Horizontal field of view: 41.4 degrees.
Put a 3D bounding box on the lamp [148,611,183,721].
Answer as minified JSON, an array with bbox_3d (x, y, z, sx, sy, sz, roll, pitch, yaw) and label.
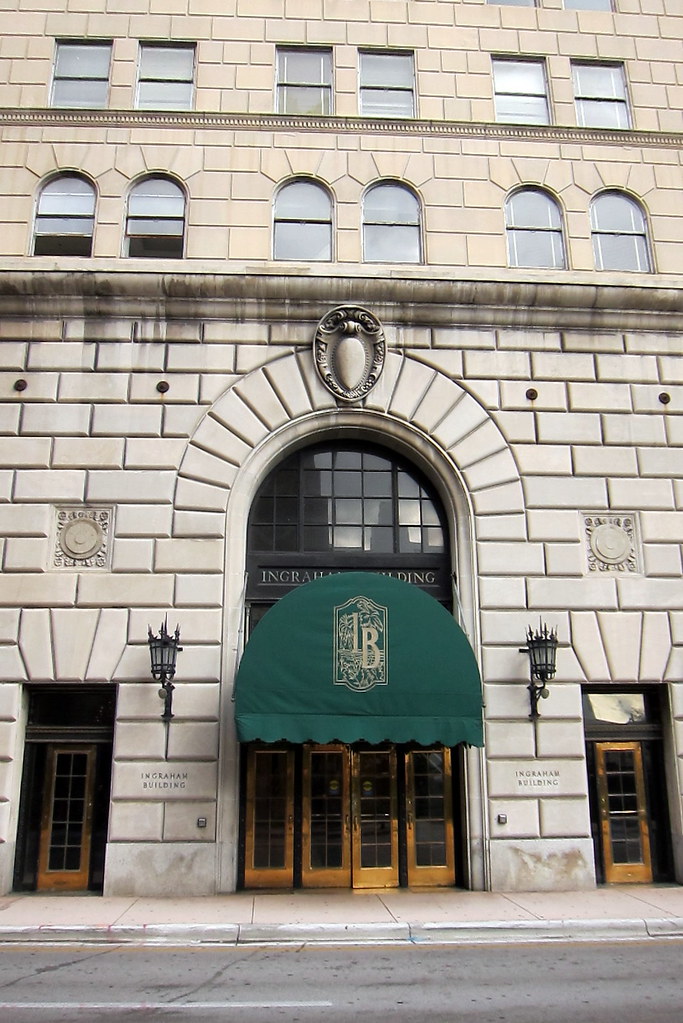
[{"bbox_3d":[-2.614,2.301,13.266,0.498,1.493,0.776,1,-20,-7],"label":"lamp"}]

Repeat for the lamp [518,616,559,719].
[{"bbox_3d":[3.030,2.363,13.720,0.511,1.480,0.817,-2,-20,0],"label":"lamp"}]
